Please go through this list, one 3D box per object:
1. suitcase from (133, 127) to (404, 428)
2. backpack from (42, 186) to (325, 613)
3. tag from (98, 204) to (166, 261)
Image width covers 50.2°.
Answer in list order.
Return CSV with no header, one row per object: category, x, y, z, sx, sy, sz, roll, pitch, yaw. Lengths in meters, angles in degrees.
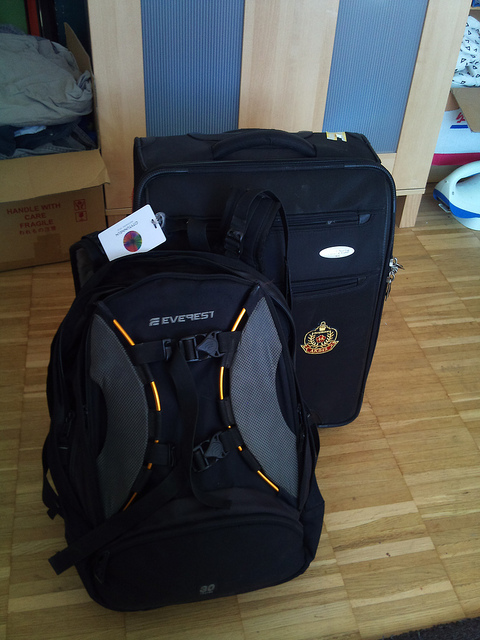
suitcase,0.050,-0.058,1.033,0.482,0.588,0.282,-2,29,-3
backpack,-0.073,0.142,0.817,0.455,0.576,0.327,-6,22,-15
tag,-0.170,-0.138,0.795,0.119,0.080,0.027,-32,14,5
